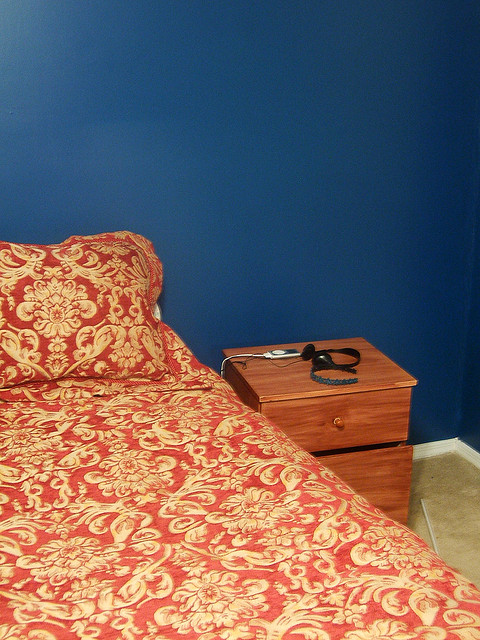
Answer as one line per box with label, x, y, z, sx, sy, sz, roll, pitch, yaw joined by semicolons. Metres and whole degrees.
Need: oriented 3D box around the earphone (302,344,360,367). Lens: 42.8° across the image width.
earphone;0.292;0.117;1.944;0.117;0.030;0.095;-2;10;-15
